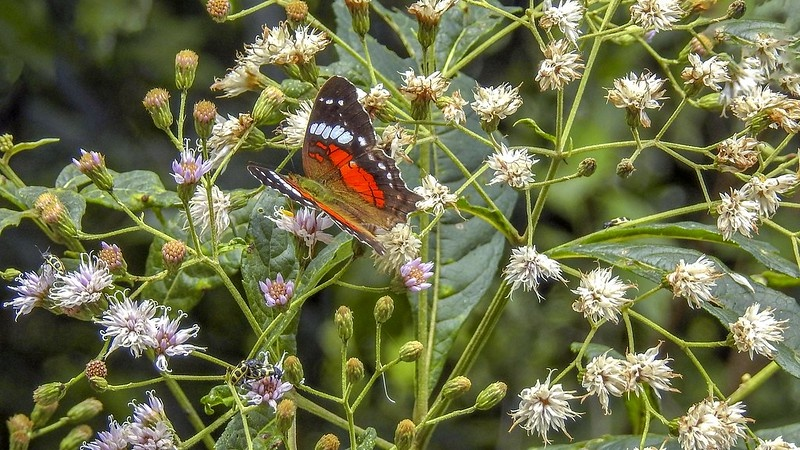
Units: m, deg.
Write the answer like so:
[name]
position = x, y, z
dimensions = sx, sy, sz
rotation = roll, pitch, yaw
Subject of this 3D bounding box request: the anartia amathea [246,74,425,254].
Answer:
[anartia amathea]
position = -0.211, -0.249, 3.440
dimensions = 0.369, 0.501, 0.538
rotation = -34, 55, -26
